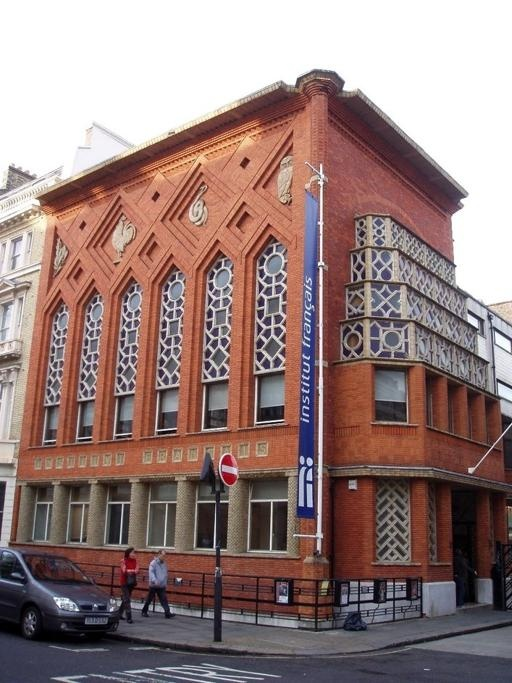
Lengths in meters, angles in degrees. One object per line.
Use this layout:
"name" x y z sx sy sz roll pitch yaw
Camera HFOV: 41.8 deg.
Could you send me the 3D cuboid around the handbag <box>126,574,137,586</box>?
"handbag" -2.856 5.414 15.204 0.122 0.305 0.333 -14 -23 39
